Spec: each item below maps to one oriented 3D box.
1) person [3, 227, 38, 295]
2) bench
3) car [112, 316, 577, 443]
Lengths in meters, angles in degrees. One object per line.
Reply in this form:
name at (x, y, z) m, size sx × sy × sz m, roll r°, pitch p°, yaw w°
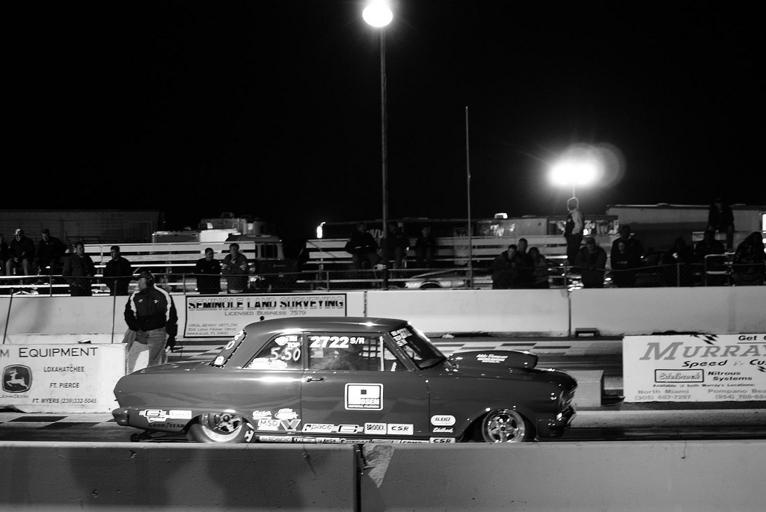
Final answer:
person at (-10.155, 0.173, 43.233) m, size 0.967 × 2.224 × 1.044 m, roll 0°, pitch -2°, yaw 12°
bench at (-1.529, 0.183, 44.430) m, size 12.053 × 1.568 × 1.386 m, roll 0°, pitch 5°, yaw 8°
car at (-0.868, 2.545, 30.301) m, size 8.377 × 2.419 × 2.474 m, roll 0°, pitch 0°, yaw 2°
